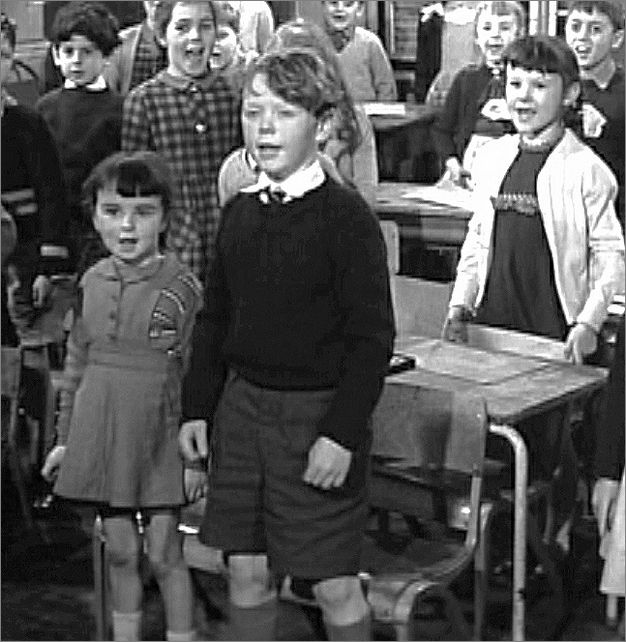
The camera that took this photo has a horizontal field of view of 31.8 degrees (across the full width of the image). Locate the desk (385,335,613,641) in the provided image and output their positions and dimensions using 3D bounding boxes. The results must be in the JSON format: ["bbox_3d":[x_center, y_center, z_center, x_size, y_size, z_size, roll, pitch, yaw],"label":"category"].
[{"bbox_3d":[0.377,0.260,2.650,0.562,0.574,0.692,-1,4,-44],"label":"desk"}]

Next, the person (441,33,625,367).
[{"bbox_3d":[0.593,-0.323,2.859,0.452,0.809,0.189,4,6,20],"label":"person"}]
